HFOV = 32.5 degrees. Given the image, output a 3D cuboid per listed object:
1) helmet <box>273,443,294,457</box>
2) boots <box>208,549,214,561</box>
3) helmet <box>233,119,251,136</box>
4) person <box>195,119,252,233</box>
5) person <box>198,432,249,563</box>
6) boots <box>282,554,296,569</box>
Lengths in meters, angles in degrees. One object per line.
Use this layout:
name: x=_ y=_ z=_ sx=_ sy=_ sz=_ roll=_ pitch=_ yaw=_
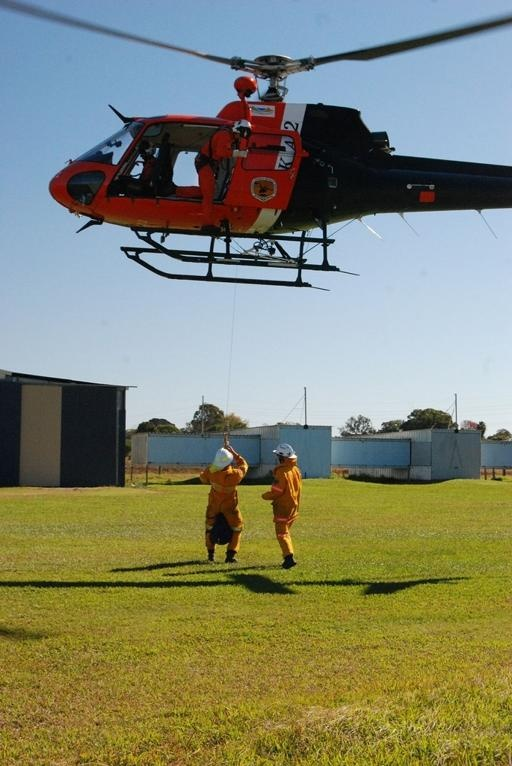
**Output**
helmet: x=0.356 y=0.869 z=11.112 sx=0.248 sy=0.096 sz=0.163 roll=12 pitch=9 yaw=-3
boots: x=-0.576 y=2.183 z=11.204 sx=0.090 sy=0.144 sz=0.139 roll=0 pitch=-48 yaw=0
helmet: x=-0.169 y=-3.143 z=10.845 sx=0.171 sy=0.207 sz=0.273 roll=2 pitch=-2 yaw=-30
person: x=-0.442 y=-2.698 z=11.515 sx=0.844 sy=1.443 sz=0.605 roll=9 pitch=4 yaw=34
person: x=-0.427 y=1.505 z=11.308 sx=0.572 sy=1.555 sz=0.835 roll=1 pitch=-2 yaw=-1
boots: x=0.388 y=2.114 z=10.477 sx=0.154 sy=0.191 sz=0.227 roll=1 pitch=-2 yaw=3
